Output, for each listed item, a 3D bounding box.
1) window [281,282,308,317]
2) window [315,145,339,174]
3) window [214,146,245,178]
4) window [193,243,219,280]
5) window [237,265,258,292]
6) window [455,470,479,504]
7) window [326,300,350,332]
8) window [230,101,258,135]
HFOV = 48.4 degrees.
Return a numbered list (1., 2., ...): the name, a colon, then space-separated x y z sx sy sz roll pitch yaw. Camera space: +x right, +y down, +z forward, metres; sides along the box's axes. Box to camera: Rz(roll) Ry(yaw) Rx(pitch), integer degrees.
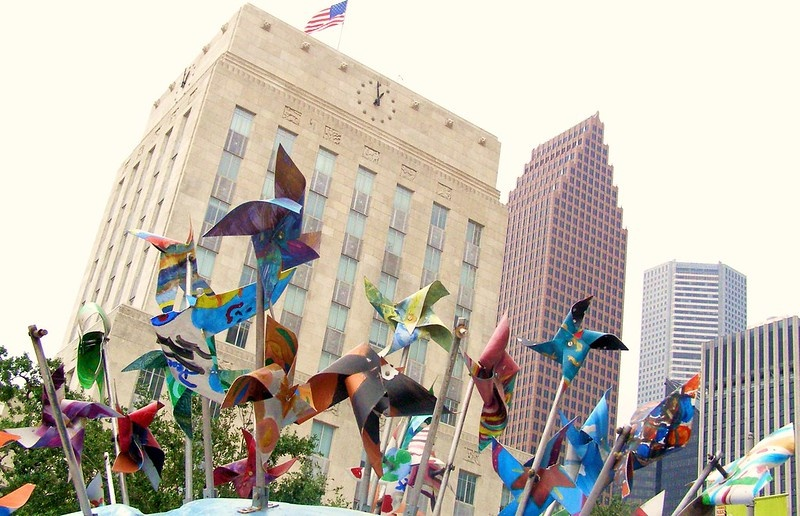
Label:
1. window: -6.907 2.802 57.740 2.219 2.724 0.195 29 -43 -33
2. window: -5.427 -7.181 65.370 1.652 2.260 0.216 24 -38 -25
3. window: -11.881 -6.529 61.483 1.666 2.305 0.116 27 -42 -25
4. window: -11.507 0.234 52.736 1.775 2.026 0.104 28 -38 -31
5. window: -8.270 1.035 47.744 0.883 1.697 0.840 8 -20 -8
6. window: 4.513 15.742 61.118 1.798 2.154 0.154 27 -35 -28
7. window: -4.371 4.045 61.424 1.659 1.884 0.104 27 -42 -31
8. window: -11.153 -9.827 63.087 1.464 2.027 1.056 29 -37 -17
